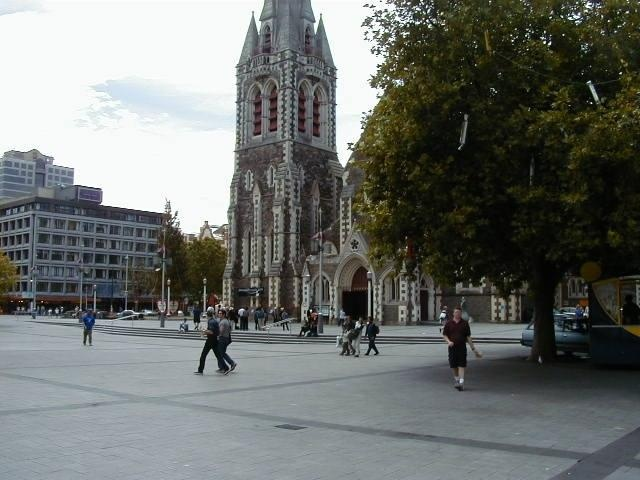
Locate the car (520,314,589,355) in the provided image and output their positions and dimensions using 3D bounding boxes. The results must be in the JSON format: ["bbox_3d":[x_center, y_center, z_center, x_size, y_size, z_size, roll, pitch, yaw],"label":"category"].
[{"bbox_3d":[8.768,3.534,24.835,1.494,1.098,2.539,7,-17,-44],"label":"car"}]

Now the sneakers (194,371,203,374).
[{"bbox_3d":[-3.586,3.906,19.943,0.217,0.101,0.404,9,-9,-11],"label":"sneakers"}]
